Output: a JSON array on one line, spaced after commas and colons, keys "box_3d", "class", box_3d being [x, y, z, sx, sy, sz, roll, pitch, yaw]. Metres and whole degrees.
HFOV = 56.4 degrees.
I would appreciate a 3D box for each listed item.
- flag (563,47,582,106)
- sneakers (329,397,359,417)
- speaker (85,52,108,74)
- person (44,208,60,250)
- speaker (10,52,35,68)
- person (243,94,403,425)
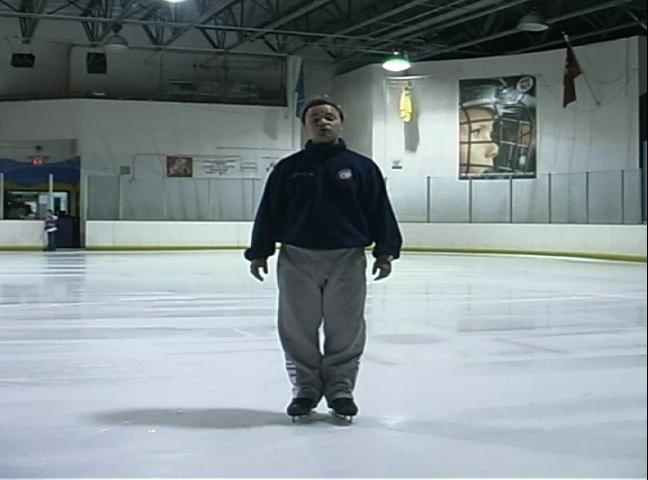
[{"box_3d": [7.010, -4.630, 16.913, 0.429, 1.560, 1.327, 3, 7, 21], "class": "flag"}, {"box_3d": [0.118, 0.901, 3.263, 0.076, 0.077, 0.202, 3, -8, -20], "class": "sneakers"}, {"box_3d": [-8.184, -6.435, 21.745, 0.775, 0.702, 0.713, 0, 9, -8], "class": "speaker"}, {"box_3d": [-8.458, -0.342, 18.713, 0.339, 1.299, 0.749, -3, 7, -26], "class": "person"}, {"box_3d": [-10.554, -6.390, 21.187, 0.780, 0.501, 0.465, -3, 7, -24], "class": "speaker"}, {"box_3d": [0.003, 0.086, 3.391, 0.881, 1.779, 0.497, 0, 6, -3], "class": "person"}]
